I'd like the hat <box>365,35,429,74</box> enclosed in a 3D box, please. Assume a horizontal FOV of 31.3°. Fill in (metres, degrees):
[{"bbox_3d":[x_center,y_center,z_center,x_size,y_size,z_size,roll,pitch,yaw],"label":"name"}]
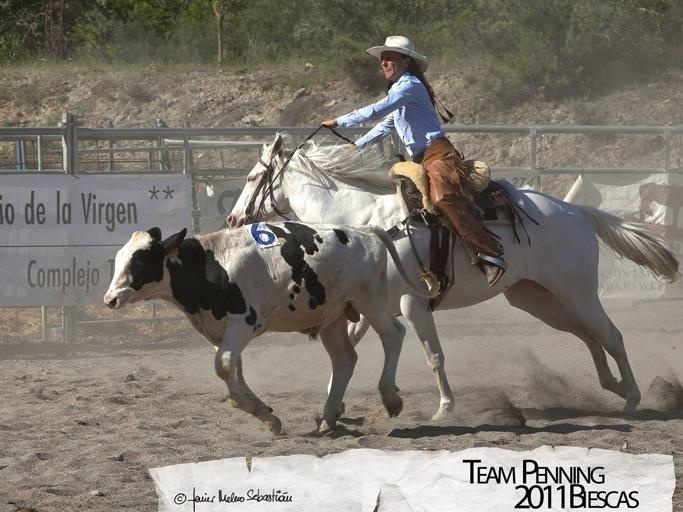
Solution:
[{"bbox_3d":[0.746,-2.649,15.748,0.836,0.315,0.577,13,-4,-32],"label":"hat"}]
